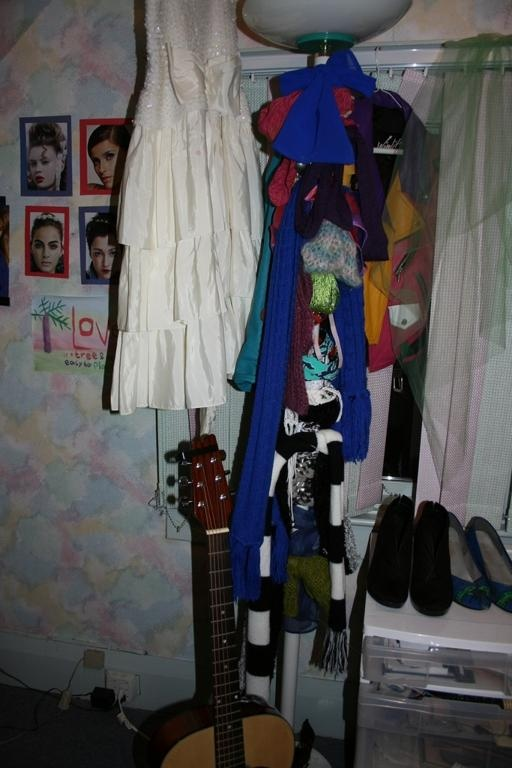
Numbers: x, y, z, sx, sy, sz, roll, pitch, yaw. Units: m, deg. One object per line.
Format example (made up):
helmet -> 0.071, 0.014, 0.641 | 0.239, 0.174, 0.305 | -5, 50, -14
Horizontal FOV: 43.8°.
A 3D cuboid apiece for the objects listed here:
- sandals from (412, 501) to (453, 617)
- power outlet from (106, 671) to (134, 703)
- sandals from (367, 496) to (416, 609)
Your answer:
sandals -> 0.411, 0.398, 1.475 | 0.067, 0.063, 0.295 | -3, 37, 14
power outlet -> -0.435, 0.955, 2.009 | 0.080, 0.085, 0.046 | 3, 10, 16
sandals -> 0.326, 0.390, 1.517 | 0.072, 0.084, 0.308 | 1, 22, 13
